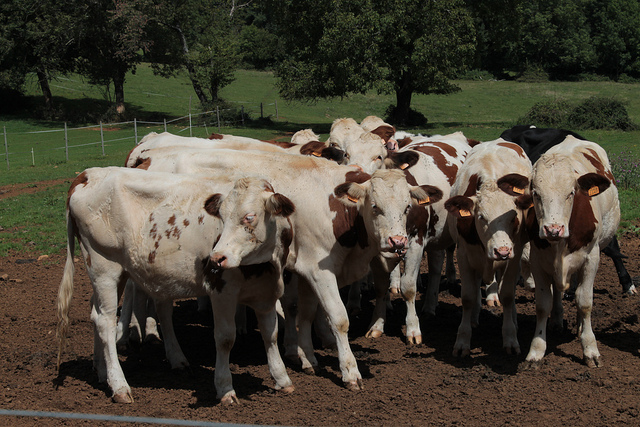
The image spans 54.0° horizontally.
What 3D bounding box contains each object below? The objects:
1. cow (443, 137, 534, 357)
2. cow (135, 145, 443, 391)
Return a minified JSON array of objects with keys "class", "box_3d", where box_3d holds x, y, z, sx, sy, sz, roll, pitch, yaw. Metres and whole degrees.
[{"class":"cow","box_3d":[3.146,0.667,11.813,1.442,3.693,2.521,4,12,14]},{"class":"cow","box_3d":[-0.657,0.917,11.948,6.008,3.640,1.803,2,4,39]}]
